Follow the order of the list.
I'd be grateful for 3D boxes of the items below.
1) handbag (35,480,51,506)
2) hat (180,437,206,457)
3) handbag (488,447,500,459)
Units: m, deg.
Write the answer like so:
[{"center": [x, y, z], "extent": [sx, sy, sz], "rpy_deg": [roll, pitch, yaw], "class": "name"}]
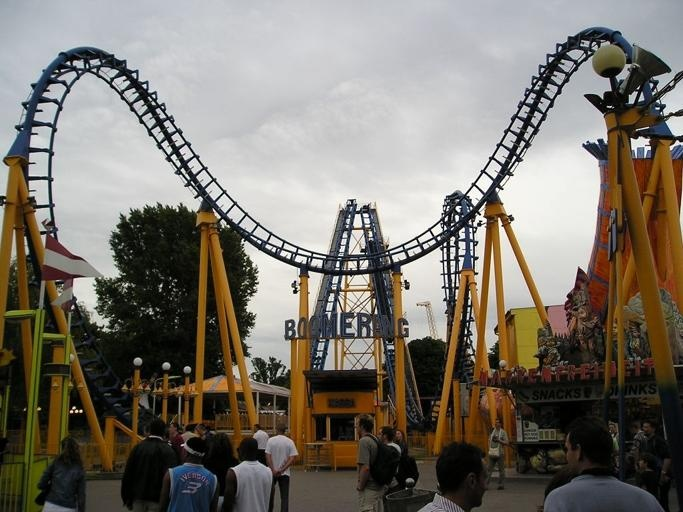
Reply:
[{"center": [-3.972, 3.134, 8.859], "extent": [0.151, 0.302, 0.292], "rpy_deg": [8, -18, -30], "class": "handbag"}, {"center": [-1.708, 2.117, 7.550], "extent": [0.292, 0.165, 0.221], "rpy_deg": [13, 0, 44], "class": "hat"}, {"center": [3.741, 4.786, 16.335], "extent": [0.278, 0.256, 0.259], "rpy_deg": [-4, -16, 10], "class": "handbag"}]
